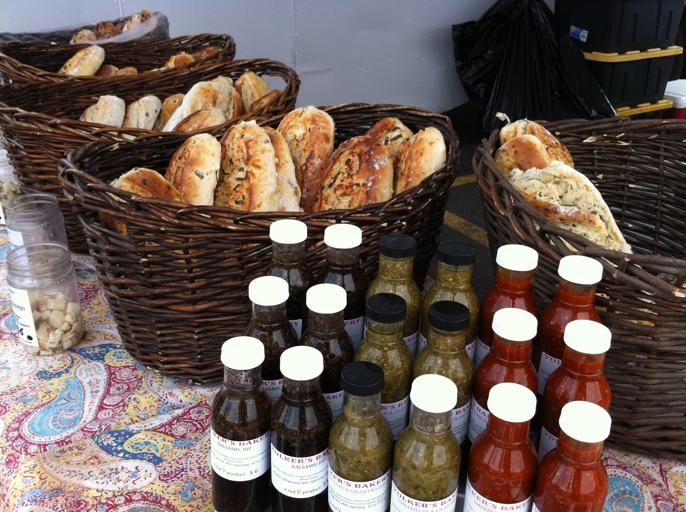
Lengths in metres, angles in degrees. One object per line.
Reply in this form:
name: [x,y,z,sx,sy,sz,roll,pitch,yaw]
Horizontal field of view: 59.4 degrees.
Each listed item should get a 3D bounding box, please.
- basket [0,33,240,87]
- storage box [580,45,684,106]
basket: [-0.706,-0.655,1.984,0.646,0.140,0.365,-4,28,-4]
storage box: [1.670,-1.038,3.583,0.426,0.264,0.563,-12,27,-18]
